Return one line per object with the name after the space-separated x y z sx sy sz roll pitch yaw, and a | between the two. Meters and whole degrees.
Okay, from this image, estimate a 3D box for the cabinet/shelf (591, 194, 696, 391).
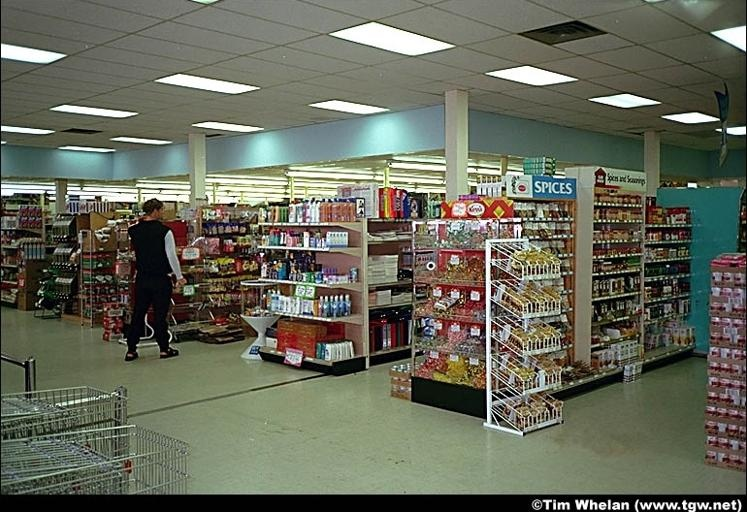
4.173 0.649 8.504 1.074 2.725 3.429 -2 -1 40 | cabinet/shelf

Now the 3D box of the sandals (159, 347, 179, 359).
-3.445 1.648 9.260 0.158 0.106 0.294 3 6 28 | sandals
